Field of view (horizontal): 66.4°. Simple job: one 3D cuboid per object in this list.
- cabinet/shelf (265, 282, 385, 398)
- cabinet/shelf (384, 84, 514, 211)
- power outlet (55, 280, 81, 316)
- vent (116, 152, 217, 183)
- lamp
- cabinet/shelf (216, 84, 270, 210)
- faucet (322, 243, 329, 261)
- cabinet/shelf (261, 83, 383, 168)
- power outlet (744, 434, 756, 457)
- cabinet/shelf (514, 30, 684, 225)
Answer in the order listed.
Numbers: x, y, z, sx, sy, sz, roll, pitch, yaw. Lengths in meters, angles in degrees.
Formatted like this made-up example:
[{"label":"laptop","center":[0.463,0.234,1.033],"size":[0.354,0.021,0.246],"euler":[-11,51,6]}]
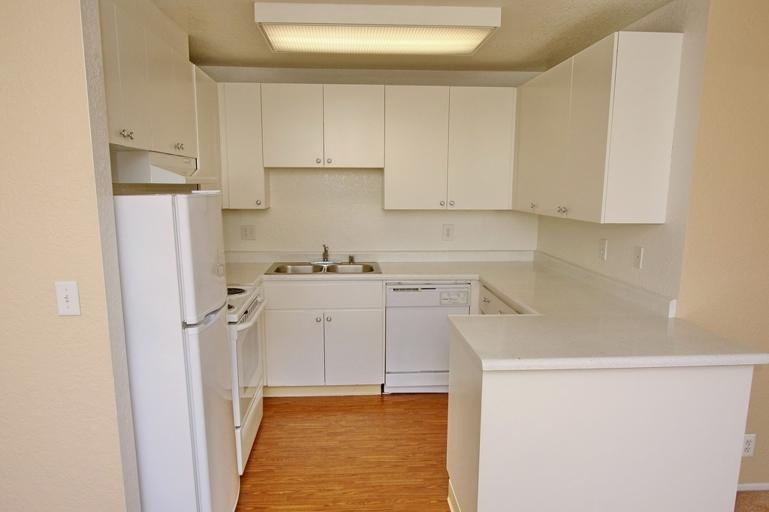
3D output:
[{"label":"cabinet/shelf","center":[-0.533,0.646,4.826],"size":[0.986,0.855,0.535],"euler":[0,-6,-16]},{"label":"cabinet/shelf","center":[0.491,-0.907,4.702],"size":[1.043,0.845,0.392],"euler":[0,5,-1]},{"label":"power outlet","center":[-1.586,0.203,2.945],"size":[0.018,0.172,0.109],"euler":[-9,-5,35]},{"label":"vent","center":[-1.300,-0.553,3.666],"size":[0.346,0.253,0.843],"euler":[2,12,6]},{"label":"lamp","center":[-0.055,-1.542,3.989],"size":[1.579,0.229,0.732],"euler":[-1,12,-9]},{"label":"cabinet/shelf","center":[-1.111,-0.870,4.606],"size":[0.329,0.949,0.133],"euler":[-2,14,-10]},{"label":"faucet","center":[-0.493,-0.040,4.992],"size":[0.061,0.135,0.094],"euler":[-2,14,-7]},{"label":"cabinet/shelf","center":[-0.441,-1.068,4.859],"size":[1.033,0.622,0.553],"euler":[2,19,3]},{"label":"power outlet","center":[2.240,1.145,3.612],"size":[0.081,0.151,0.020],"euler":[-1,14,-6]},{"label":"cabinet/shelf","center":[1.413,-0.772,4.182],"size":[0.473,1.032,1.435],"euler":[0,10,-12]}]
